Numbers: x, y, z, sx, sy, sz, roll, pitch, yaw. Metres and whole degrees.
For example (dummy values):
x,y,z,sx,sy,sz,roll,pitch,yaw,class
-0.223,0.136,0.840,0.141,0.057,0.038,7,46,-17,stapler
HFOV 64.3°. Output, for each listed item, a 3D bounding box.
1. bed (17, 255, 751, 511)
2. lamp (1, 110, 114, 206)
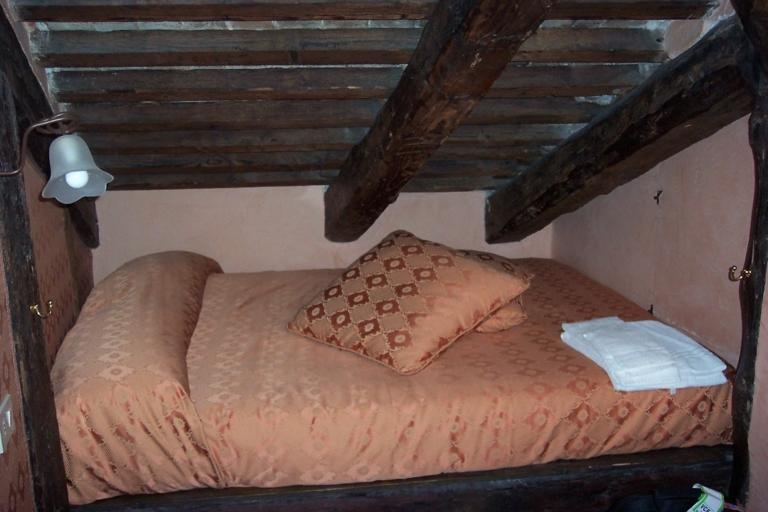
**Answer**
x,y,z,sx,sy,sz,roll,pitch,yaw,class
-0.035,0.551,2.601,2.287,0.483,1.206,-2,33,-7,bed
-1.136,-0.346,2.281,0.419,0.350,0.340,-14,4,-21,lamp
